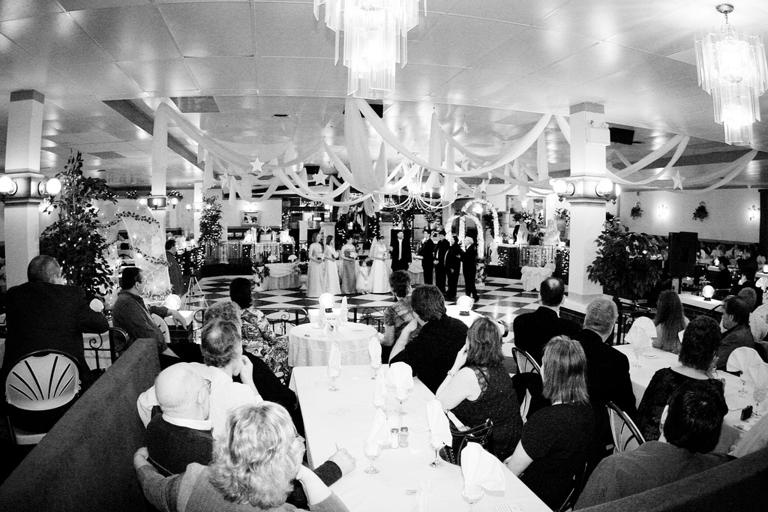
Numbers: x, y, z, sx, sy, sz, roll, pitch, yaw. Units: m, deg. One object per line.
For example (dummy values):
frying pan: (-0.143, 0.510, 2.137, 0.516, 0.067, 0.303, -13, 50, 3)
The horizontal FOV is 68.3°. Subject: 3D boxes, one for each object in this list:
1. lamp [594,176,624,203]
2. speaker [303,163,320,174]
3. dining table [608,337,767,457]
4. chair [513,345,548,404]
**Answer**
lamp: (4.000, -1.167, 10.072, 0.293, 0.453, 0.842, 4, 1, 34)
speaker: (-2.474, -3.013, 19.774, 0.441, 0.282, 1.318, 4, 0, -6)
dining table: (2.994, 1.331, 5.518, 0.654, 0.263, 1.099, -3, 21, -18)
chair: (1.462, 1.204, 5.699, 0.431, 0.555, 0.441, -3, 11, -3)
